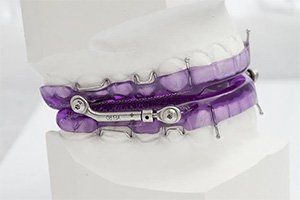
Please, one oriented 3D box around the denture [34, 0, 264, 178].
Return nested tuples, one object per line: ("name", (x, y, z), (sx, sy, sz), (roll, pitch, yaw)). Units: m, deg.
("denture", (-0.026, -0.049, 1.301), (0.564, 0.272, 0.566), (-18, 1, 35))
